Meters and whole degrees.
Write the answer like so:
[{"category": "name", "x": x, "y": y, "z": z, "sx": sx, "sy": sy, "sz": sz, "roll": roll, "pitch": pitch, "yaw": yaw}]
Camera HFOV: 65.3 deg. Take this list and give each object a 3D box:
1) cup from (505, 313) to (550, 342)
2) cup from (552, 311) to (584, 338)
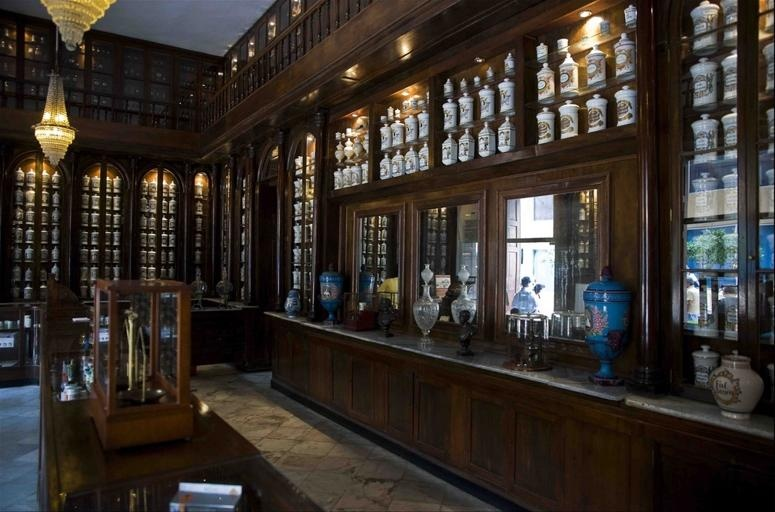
[{"category": "cup", "x": 1.257, "y": 0.618, "z": 5.380, "sx": 0.371, "sy": 0.210, "sz": 0.209, "roll": 6, "pitch": 15, "yaw": 14}, {"category": "cup", "x": 1.634, "y": 0.625, "z": 5.465, "sx": 0.242, "sy": 0.231, "sz": 0.240, "roll": 1, "pitch": 1, "yaw": 0}]
